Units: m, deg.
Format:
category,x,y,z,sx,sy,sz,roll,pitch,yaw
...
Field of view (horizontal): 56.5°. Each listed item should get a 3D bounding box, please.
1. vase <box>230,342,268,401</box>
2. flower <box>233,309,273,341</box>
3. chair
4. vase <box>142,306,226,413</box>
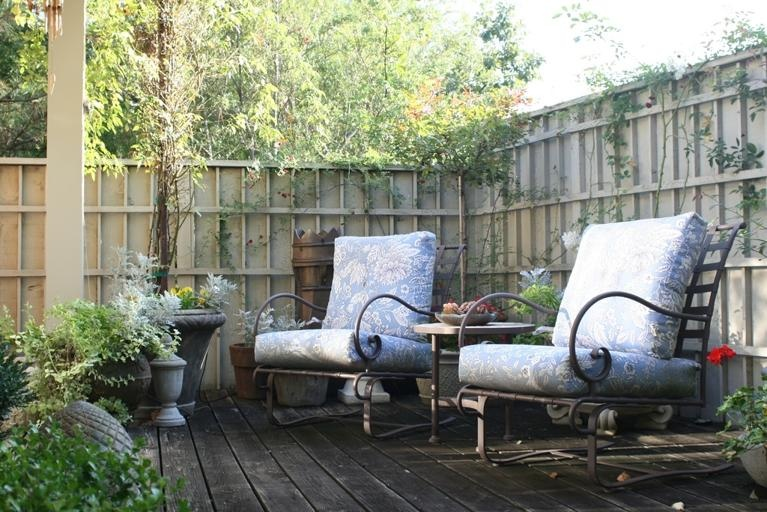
category,x,y,z,sx,sy,sz,roll,pitch,yaw
vase,-1.041,0.940,5.832,0.427,0.471,0.422,5,-8,-39
flower,-1.079,0.545,5.911,0.336,0.302,0.356,1,-13,-8
chair,1.181,0.477,4.030,1.488,1.427,0.912,-2,5,-12
vase,-1.392,0.775,5.318,0.194,0.780,0.447,2,6,28
